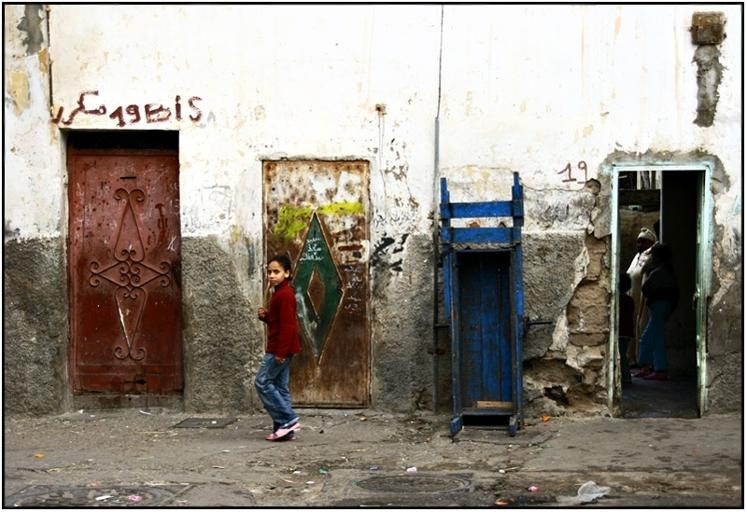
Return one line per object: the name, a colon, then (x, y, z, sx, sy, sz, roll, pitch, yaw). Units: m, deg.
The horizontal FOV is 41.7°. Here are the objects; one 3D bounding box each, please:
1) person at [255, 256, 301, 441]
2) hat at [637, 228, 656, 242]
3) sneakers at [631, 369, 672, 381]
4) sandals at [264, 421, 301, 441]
person: (-1.164, 1.126, 11.857, 0.535, 2.203, 0.630, -2, 15, -1)
hat: (4.564, -0.366, 16.385, 0.239, 0.250, 0.312, 13, 12, 34)
sneakers: (4.246, 1.826, 14.932, 0.562, 0.210, 0.189, 5, -3, 6)
sandals: (-1.098, 2.145, 11.915, 0.443, 0.165, 0.171, -16, -1, -12)
